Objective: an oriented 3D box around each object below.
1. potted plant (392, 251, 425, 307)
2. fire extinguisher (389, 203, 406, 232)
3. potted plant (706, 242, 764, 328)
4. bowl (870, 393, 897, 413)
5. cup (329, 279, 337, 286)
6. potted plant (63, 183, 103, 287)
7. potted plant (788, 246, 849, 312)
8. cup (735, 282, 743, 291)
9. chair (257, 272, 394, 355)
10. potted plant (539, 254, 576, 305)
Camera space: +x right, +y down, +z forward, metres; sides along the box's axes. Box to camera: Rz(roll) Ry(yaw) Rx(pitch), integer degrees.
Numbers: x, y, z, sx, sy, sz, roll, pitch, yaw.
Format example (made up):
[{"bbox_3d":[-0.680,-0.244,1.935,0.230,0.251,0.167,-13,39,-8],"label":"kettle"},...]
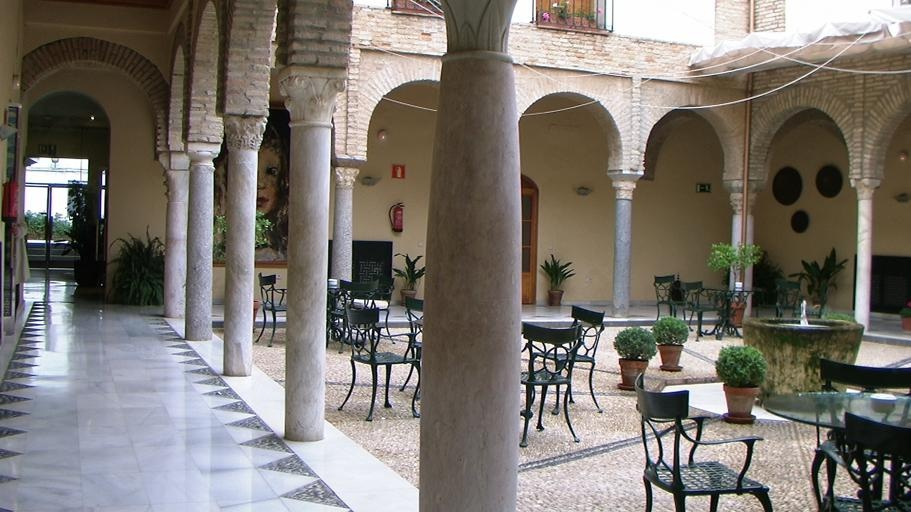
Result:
[{"bbox_3d":[-1.217,0.573,18.317,0.768,1.276,0.820,3,0,-6],"label":"potted plant"},{"bbox_3d":[-1.519,-1.009,18.489,0.409,0.779,0.160,3,0,-6],"label":"fire extinguisher"},{"bbox_3d":[6.772,0.401,17.551,1.543,1.589,1.241,0,-2,-20],"label":"potted plant"},{"bbox_3d":[4.801,1.648,8.023,0.213,0.123,0.206,0,3,0],"label":"bowl"},{"bbox_3d":[-2.441,0.515,14.237,0.152,0.102,0.141,0,-2,0],"label":"cup"},{"bbox_3d":[-11.439,-0.674,22.223,1.121,3.052,1.223,-5,0,8],"label":"potted plant"},{"bbox_3d":[9.895,0.709,19.455,1.469,1.178,1.582,11,3,-39],"label":"potted plant"},{"bbox_3d":[6.549,0.703,16.591,0.127,0.123,0.232,1,1,13],"label":"cup"},{"bbox_3d":[-2.770,1.323,14.209,2.039,1.077,1.986,1,1,4],"label":"chair"},{"bbox_3d":[2.809,0.643,19.627,0.956,1.406,0.398,2,0,-24],"label":"potted plant"}]
